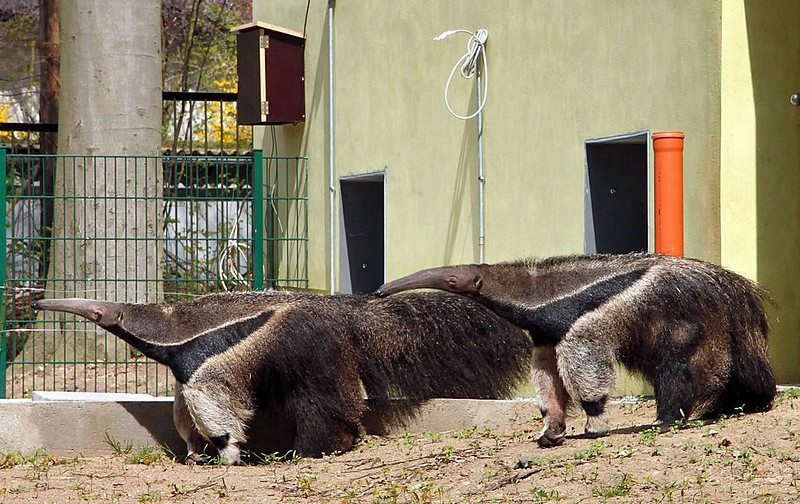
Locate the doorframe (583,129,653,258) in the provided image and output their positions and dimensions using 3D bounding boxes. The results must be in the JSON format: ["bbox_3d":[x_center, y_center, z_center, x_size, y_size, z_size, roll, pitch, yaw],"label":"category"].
[{"bbox_3d":[2.476,-0.644,15.575,0.778,1.224,0.304,-1,0,-32],"label":"doorframe"}]
